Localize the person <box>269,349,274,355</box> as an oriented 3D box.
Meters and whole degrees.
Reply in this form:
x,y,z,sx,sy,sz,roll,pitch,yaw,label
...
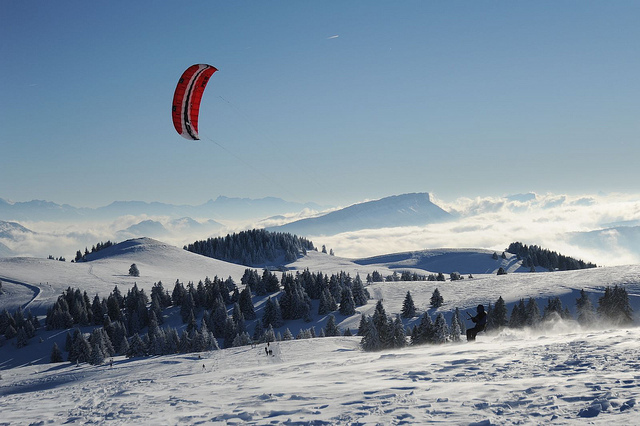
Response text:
x,y,z,sx,sy,sz,roll,pitch,yaw,label
-9.216,26.223,127.799,0.700,0.984,2.010,-6,-11,-3,person
